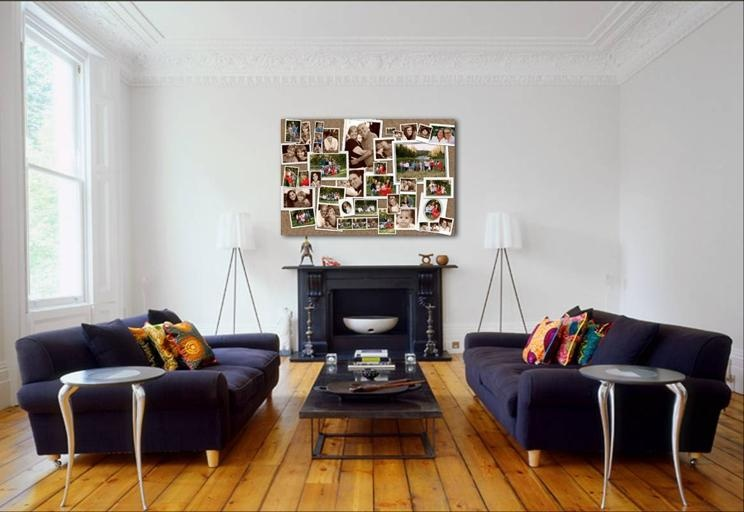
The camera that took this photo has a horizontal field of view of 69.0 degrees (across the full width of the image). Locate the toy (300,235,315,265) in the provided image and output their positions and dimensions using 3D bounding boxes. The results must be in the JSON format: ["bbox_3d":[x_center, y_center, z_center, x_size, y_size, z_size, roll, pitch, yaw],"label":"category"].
[{"bbox_3d":[-0.960,-0.082,7.908,0.205,0.403,0.283,-2,12,-8],"label":"toy"}]

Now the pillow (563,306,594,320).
[{"bbox_3d":[2.148,0.590,5.654,0.293,0.094,0.302,-7,-1,20],"label":"pillow"}]

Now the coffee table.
[{"bbox_3d":[-0.023,1.512,5.529,1.198,0.458,1.971,0,1,1],"label":"coffee table"}]
